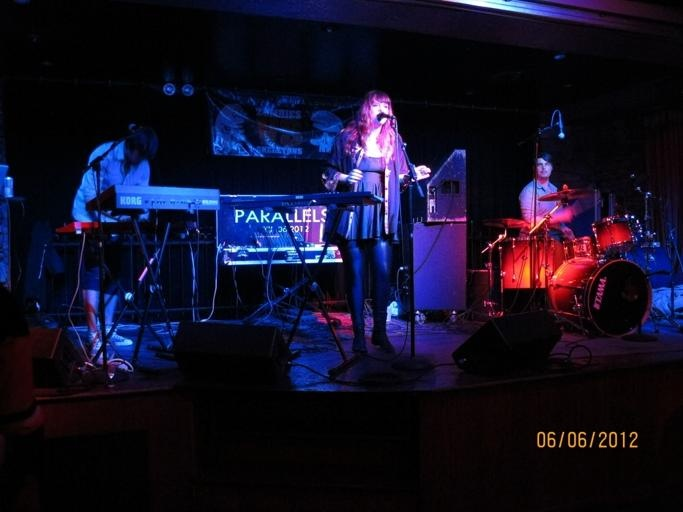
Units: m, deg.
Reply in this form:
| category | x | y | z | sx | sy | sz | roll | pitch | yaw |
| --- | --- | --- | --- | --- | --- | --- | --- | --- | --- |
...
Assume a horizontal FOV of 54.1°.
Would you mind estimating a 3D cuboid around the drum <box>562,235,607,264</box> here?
| category | x | y | z | sx | sy | sz | roll | pitch | yaw |
| --- | --- | --- | --- | --- | --- | --- | --- | --- | --- |
| drum | 2.389 | -0.062 | 6.654 | 0.242 | 0.167 | 0.254 | -3 | -15 | -1 |

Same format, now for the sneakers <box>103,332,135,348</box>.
| category | x | y | z | sx | sy | sz | roll | pitch | yaw |
| --- | --- | --- | --- | --- | --- | --- | --- | --- | --- |
| sneakers | -2.051 | 0.788 | 6.238 | 0.315 | 0.148 | 0.121 | 2 | 0 | -12 |

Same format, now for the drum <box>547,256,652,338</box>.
| category | x | y | z | sx | sy | sz | roll | pitch | yaw |
| --- | --- | --- | --- | --- | --- | --- | --- | --- | --- |
| drum | 2.517 | 0.377 | 6.557 | 0.744 | 0.799 | 0.861 | -12 | 6 | -4 |

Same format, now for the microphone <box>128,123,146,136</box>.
| category | x | y | z | sx | sy | sz | roll | pitch | yaw |
| --- | --- | --- | --- | --- | --- | --- | --- | --- | --- |
| microphone | -1.665 | -1.015 | 5.433 | 0.110 | 0.102 | 0.189 | 2 | 0 | -12 |

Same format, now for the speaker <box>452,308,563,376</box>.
| category | x | y | z | sx | sy | sz | roll | pitch | yaw |
| --- | --- | --- | --- | --- | --- | --- | --- | --- | --- |
| speaker | 1.285 | 0.671 | 5.122 | 0.823 | 0.440 | 0.324 | 2 | 0 | -15 |

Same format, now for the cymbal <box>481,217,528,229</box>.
| category | x | y | z | sx | sy | sz | roll | pitch | yaw |
| --- | --- | --- | --- | --- | --- | --- | --- | --- | --- |
| cymbal | 1.764 | -0.337 | 6.967 | 0.513 | 0.094 | 0.355 | 2 | 0 | -36 |

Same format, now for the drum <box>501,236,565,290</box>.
| category | x | y | z | sx | sy | sz | roll | pitch | yaw |
| --- | --- | --- | --- | --- | --- | --- | --- | --- | --- |
| drum | 2.011 | 0.103 | 7.012 | 0.510 | 0.522 | 0.524 | 0 | -3 | 44 |

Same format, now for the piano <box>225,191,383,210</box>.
| category | x | y | z | sx | sy | sz | roll | pitch | yaw |
| --- | --- | --- | --- | --- | --- | --- | --- | --- | --- |
| piano | -0.315 | -0.432 | 5.262 | 1.251 | 0.131 | 0.260 | 2 | 0 | 12 |

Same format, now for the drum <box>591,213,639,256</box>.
| category | x | y | z | sx | sy | sz | roll | pitch | yaw |
| --- | --- | --- | --- | --- | --- | --- | --- | --- | --- |
| drum | 2.625 | -0.204 | 6.343 | 0.351 | 0.281 | 0.379 | 1 | -13 | 0 |
